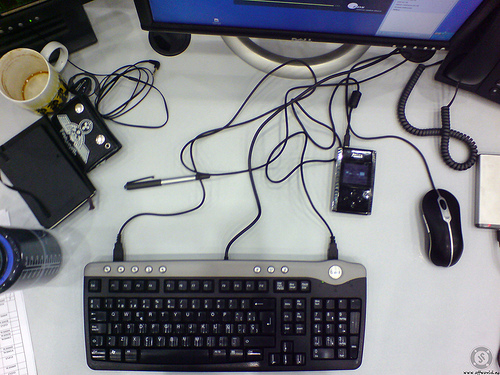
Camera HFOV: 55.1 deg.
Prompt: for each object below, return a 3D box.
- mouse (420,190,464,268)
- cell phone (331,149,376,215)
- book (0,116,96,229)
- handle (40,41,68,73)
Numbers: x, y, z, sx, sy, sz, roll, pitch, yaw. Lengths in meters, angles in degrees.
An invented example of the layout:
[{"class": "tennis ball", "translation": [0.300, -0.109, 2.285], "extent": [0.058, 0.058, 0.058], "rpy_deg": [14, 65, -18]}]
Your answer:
[{"class": "mouse", "translation": [0.452, 0.095, 1.124], "extent": [0.085, 0.041, 0.184], "rpy_deg": [3, 85, -16]}, {"class": "cell phone", "translation": [0.247, -0.016, 1.150], "extent": [0.093, 0.095, 0.132], "rpy_deg": [6, 51, 12]}, {"class": "book", "translation": [-0.484, -0.031, 1.134], "extent": [0.147, 0.151, 0.204], "rpy_deg": [-36, 55, -22]}, {"class": "handle", "translation": [-0.466, -0.307, 1.133], "extent": [0.033, 0.062, 0.065], "rpy_deg": [27, 99, -3]}]
